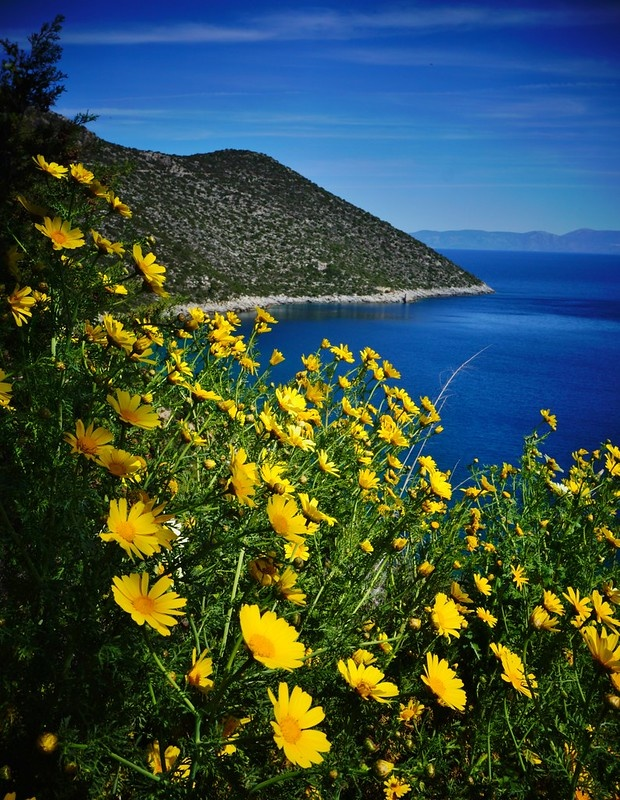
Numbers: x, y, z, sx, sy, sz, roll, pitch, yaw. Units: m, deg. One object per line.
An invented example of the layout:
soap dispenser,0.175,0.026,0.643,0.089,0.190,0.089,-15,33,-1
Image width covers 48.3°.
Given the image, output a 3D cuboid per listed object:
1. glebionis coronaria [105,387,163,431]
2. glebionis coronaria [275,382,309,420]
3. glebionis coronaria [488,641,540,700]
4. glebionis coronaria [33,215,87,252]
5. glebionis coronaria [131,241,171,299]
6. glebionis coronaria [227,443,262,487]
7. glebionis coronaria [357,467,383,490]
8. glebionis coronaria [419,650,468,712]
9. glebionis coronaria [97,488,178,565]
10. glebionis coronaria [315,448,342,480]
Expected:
glebionis coronaria,-0.362,0.019,1.424,0.101,0.076,0.128,9,11,-12
glebionis coronaria,-0.034,0.009,2.096,0.107,0.045,0.102,20,43,-49
glebionis coronaria,0.496,0.650,1.658,0.139,0.037,0.127,38,28,-18
glebionis coronaria,-0.575,-0.369,1.560,0.100,0.037,0.099,39,40,-8
glebionis coronaria,-0.390,-0.312,1.606,0.099,0.100,0.026,31,63,-1
glebionis coronaria,-0.143,0.133,1.369,0.077,0.033,0.074,52,16,-39
glebionis coronaria,0.188,0.262,2.289,0.083,0.032,0.076,5,44,-20
glebionis coronaria,0.287,0.629,1.554,0.099,0.031,0.087,-15,15,-10
glebionis coronaria,-0.306,0.213,1.227,0.126,0.045,0.121,34,42,-23
glebionis coronaria,0.050,0.200,2.166,0.091,0.030,0.096,70,13,19
